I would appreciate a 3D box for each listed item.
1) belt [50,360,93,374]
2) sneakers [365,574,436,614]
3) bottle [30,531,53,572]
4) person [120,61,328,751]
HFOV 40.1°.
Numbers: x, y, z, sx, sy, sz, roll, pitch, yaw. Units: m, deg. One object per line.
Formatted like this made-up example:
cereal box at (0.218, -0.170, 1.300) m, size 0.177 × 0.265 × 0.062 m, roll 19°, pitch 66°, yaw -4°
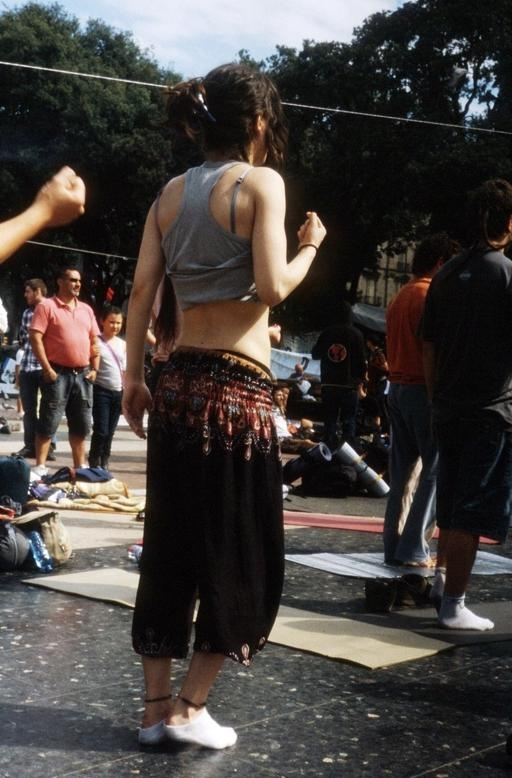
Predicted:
belt at (-1.870, -0.202, 7.070) m, size 0.342 × 0.093 × 0.098 m, roll 5°, pitch -2°, yaw -35°
sneakers at (0.690, 0.987, 3.344) m, size 0.201 × 0.106 × 0.277 m, roll -1°, pitch -1°, yaw 13°
bottle at (-1.125, 0.851, 3.672) m, size 0.067 × 0.201 × 0.111 m, roll -28°, pitch -24°, yaw 36°
person at (-0.141, 0.144, 1.855) m, size 0.503 × 1.286 × 0.327 m, roll 4°, pitch -2°, yaw 6°
